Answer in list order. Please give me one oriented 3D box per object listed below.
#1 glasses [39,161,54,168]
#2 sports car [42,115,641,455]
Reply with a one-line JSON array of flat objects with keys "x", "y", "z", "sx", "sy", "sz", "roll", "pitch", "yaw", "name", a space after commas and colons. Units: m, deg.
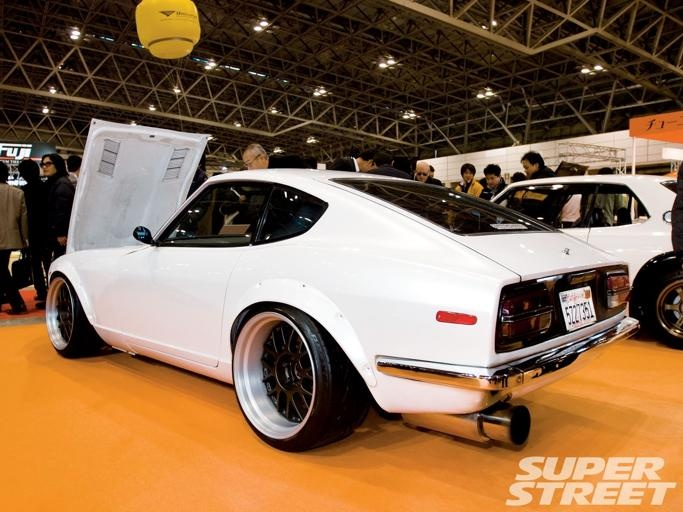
[{"x": -4.056, "y": -1.278, "z": 5.742, "sx": 0.174, "sy": 0.047, "sz": 0.165, "roll": 1, "pitch": -3, "yaw": 21, "name": "glasses"}, {"x": -0.499, "y": -0.064, "z": 3.403, "sx": 4.411, "sy": 1.569, "sz": 2.245, "roll": 5, "pitch": 10, "yaw": 38, "name": "sports car"}]
